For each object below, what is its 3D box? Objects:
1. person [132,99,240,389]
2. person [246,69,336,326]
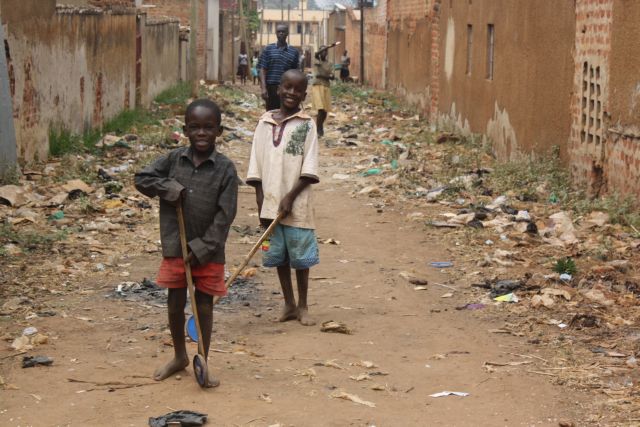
[{"bbox_3d":[-1.126,0.245,7.263,0.843,2.417,0.525,0,10,-5],"label":"person"},{"bbox_3d":[-0.360,-0.151,8.416,0.710,2.523,0.541,2,10,10],"label":"person"}]
